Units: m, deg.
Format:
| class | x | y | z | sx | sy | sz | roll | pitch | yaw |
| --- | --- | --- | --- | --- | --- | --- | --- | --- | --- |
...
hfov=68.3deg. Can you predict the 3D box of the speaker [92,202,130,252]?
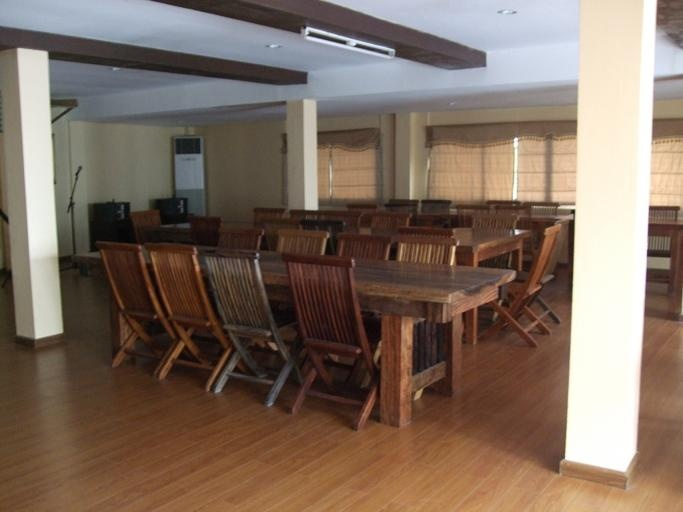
| class | x | y | z | sx | sy | sz | roll | pitch | yaw |
| --- | --- | --- | --- | --- | --- | --- | --- | --- | --- |
| speaker | -4.485 | -0.523 | 9.856 | 0.774 | 0.875 | 0.610 | -8 | 6 | 19 |
